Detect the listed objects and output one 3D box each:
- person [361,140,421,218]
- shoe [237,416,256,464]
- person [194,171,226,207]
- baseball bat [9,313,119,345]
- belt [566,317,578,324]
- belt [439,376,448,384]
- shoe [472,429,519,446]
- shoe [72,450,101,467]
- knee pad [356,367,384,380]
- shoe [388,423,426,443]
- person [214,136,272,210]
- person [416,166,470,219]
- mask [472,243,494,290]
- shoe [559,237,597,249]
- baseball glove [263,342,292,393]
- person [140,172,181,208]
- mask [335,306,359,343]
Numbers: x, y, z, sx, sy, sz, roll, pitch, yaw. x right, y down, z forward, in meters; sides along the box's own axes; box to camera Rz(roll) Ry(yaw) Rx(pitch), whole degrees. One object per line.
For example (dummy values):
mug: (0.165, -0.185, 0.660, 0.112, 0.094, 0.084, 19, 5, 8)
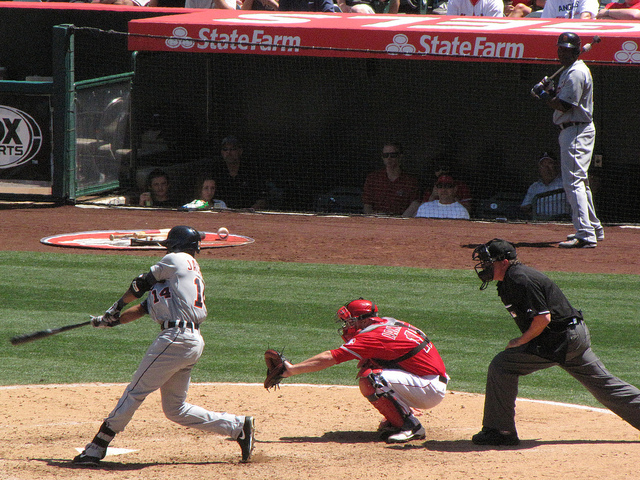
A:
person: (1.198, -1.001, 23.268, 0.975, 1.185, 0.412, 1, 9, 2)
shoe: (-0.807, 2.192, 15.033, 0.317, 0.467, 0.182, -3, 8, -12)
person: (-1.943, -0.868, 24.160, 0.523, 0.558, 0.877, 0, 8, -5)
baseball bat: (-3.160, 1.133, 17.000, 1.644, 0.131, 0.199, -13, 12, -8)
belt: (2.739, 0.904, 15.127, 0.102, 0.074, 0.021, 0, 3, -5)
belt: (1.374, 1.590, 15.451, 0.054, 0.096, 0.104, 8, 11, 37)
shoe: (1.914, 2.214, 15.333, 0.520, 0.186, 0.180, 3, 1, 2)
shoe: (-2.506, 2.395, 14.886, 0.293, 0.130, 0.134, 7, -6, 4)
knee pad: (0.546, 1.497, 15.334, 0.193, 0.065, 0.135, -11, 2, 20)
shoe: (0.887, 2.184, 15.357, 0.520, 0.169, 0.154, 0, 1, -15)
person: (-1.380, -1.185, 24.423, 0.983, 1.258, 0.609, -2, 10, -20)
person: (2.052, -0.738, 23.298, 1.080, 0.796, 0.572, 3, -15, 11)
mask: (1.808, 0.329, 15.332, 0.291, 0.432, 0.360, -7, 15, 2)
shoe: (3.788, 0.060, 20.524, 0.571, 0.183, 0.178, 4, 4, 1)
baseball glove: (-0.484, 1.446, 15.373, 0.195, 0.463, 0.243, 7, -3, -4)
person: (-2.845, -0.846, 24.200, 0.848, 0.616, 0.366, 0, 1, -7)
mask: (0.271, 0.980, 15.551, 0.241, 0.440, 0.404, -1, 9, -14)
